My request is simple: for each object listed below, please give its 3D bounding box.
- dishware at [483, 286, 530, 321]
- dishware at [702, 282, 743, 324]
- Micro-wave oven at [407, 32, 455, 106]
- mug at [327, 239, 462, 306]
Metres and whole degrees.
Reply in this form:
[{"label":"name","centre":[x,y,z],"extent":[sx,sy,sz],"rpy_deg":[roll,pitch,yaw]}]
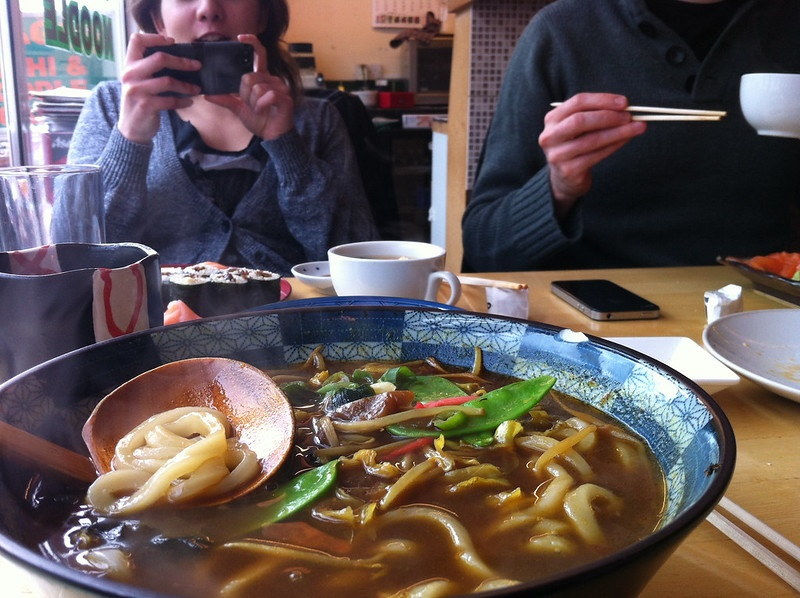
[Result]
[{"label":"dishware","centre":[0.209,0.012,1.231],"extent":[0.082,0.061,0.130],"rpy_deg":[-2,-7,29]},{"label":"dishware","centre":[0.648,0.011,1.276],"extent":[0.077,0.060,0.040],"rpy_deg":[-22,26,-26]},{"label":"Micro-wave oven","centre":[0.301,-2.249,6.336],"extent":[0.432,0.641,0.655],"rpy_deg":[-2,23,2]},{"label":"mug","centre":[-0.015,-0.057,1.283],"extent":[0.217,0.084,0.167],"rpy_deg":[9,13,18]}]
